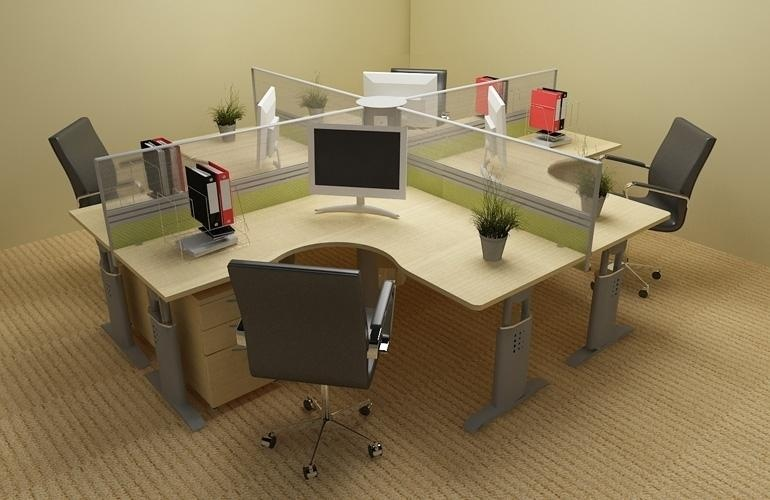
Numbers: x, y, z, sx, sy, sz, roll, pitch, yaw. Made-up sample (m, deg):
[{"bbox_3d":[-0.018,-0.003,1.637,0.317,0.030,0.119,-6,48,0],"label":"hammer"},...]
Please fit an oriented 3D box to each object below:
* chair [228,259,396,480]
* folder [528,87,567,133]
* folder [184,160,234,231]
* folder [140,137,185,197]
[{"bbox_3d":[-0.496,0.817,3.422,1.083,1.404,0.985,3,30,5],"label":"chair"},{"bbox_3d":[1.601,-1.393,5.315,0.347,0.393,0.236,25,39,37],"label":"folder"},{"bbox_3d":[-1.246,-0.378,3.776,0.236,0.376,0.402,-16,28,-33],"label":"folder"},{"bbox_3d":[-1.572,-0.573,3.801,0.181,0.299,0.323,-22,35,-38],"label":"folder"}]
